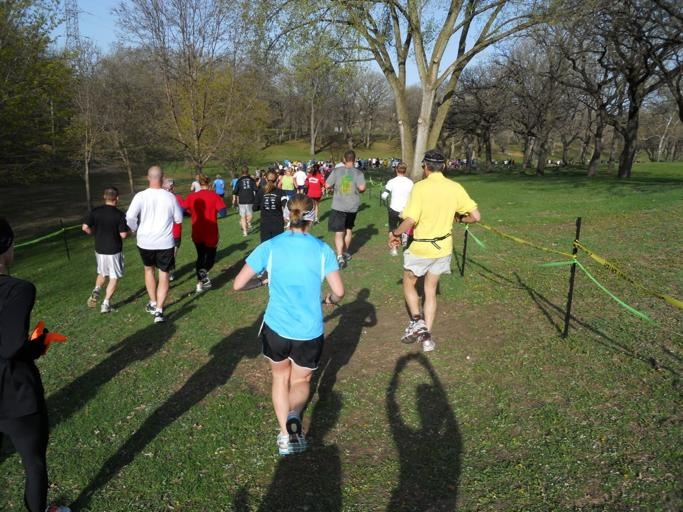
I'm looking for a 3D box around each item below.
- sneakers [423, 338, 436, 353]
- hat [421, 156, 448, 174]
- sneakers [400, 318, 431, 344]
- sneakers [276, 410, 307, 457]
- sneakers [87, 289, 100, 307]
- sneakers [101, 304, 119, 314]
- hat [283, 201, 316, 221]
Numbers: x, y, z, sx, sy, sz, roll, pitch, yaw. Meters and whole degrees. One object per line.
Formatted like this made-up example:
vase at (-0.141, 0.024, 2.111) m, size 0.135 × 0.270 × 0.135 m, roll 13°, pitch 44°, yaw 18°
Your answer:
sneakers at (1.269, 1.317, 6.287) m, size 0.202 × 0.101 × 0.254 m, roll -2°, pitch 1°, yaw 2°
hat at (1.371, -1.378, 6.312) m, size 0.227 × 0.257 × 0.292 m, roll 3°, pitch 20°, yaw -11°
sneakers at (1.085, 1.170, 6.416) m, size 0.215 × 0.248 × 0.531 m, roll 24°, pitch -25°, yaw -6°
sneakers at (-0.546, 1.940, 4.625) m, size 0.223 × 0.252 × 0.528 m, roll 1°, pitch 4°, yaw -2°
sneakers at (-5.009, 0.851, 8.604) m, size 0.150 × 0.151 × 0.356 m, roll 35°, pitch 23°, yaw -53°
sneakers at (-4.534, 0.978, 8.274) m, size 0.139 × 0.182 × 0.402 m, roll 8°, pitch 14°, yaw 16°
hat at (-0.445, -0.515, 4.588) m, size 0.295 × 0.327 × 0.314 m, roll 0°, pitch 14°, yaw -6°
